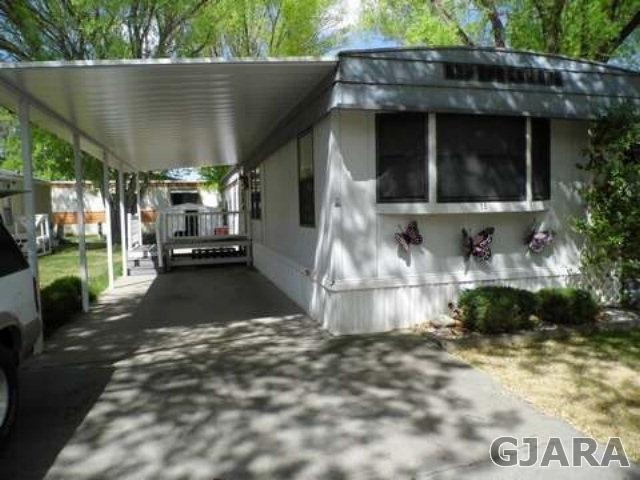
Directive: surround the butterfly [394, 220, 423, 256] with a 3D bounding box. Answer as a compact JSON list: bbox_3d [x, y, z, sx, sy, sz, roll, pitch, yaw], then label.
[{"bbox_3d":[1.263,-0.017,6.452,0.444,0.330,0.130,-45,-1,-39],"label":"butterfly"}]
